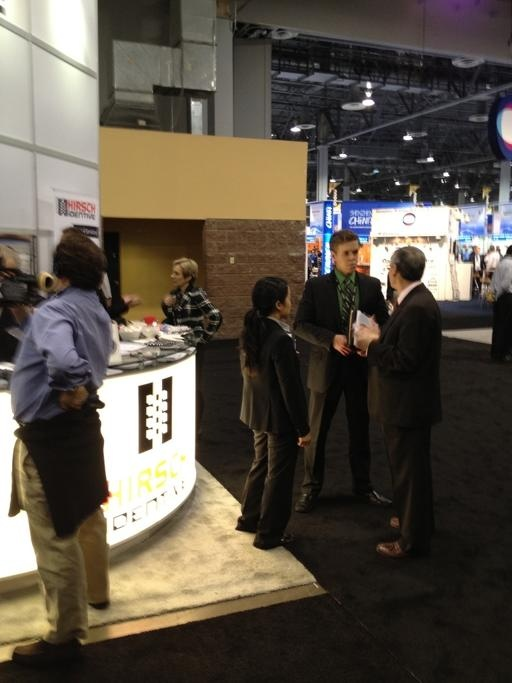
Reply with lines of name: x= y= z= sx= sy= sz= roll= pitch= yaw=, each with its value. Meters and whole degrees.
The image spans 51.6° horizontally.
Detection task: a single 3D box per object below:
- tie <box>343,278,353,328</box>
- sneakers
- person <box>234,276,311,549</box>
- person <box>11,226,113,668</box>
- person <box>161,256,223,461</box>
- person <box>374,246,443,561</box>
tie: x=0.481 y=-0.210 z=2.760 sx=0.050 sy=0.244 sz=0.043 roll=2 pitch=4 yaw=29
sneakers: x=-0.622 y=0.919 z=1.670 sx=0.223 sy=0.160 sz=0.084 roll=5 pitch=-8 yaw=-8
person: x=0.076 y=0.333 z=2.382 sx=0.299 sy=1.234 sz=0.410 roll=0 pitch=3 yaw=-2
person: x=-0.591 y=0.322 z=1.557 sx=0.310 sy=1.309 sz=0.392 roll=0 pitch=3 yaw=-14
person: x=-0.544 y=0.038 z=3.907 sx=0.493 sy=1.284 sz=0.356 roll=3 pitch=4 yaw=36
person: x=0.618 y=0.285 z=2.224 sx=0.297 sy=1.350 sz=0.240 roll=1 pitch=3 yaw=16
